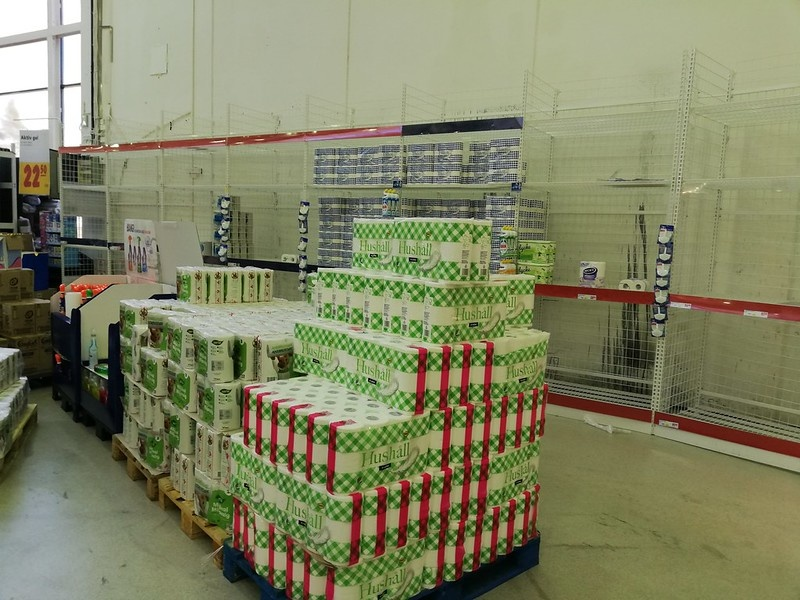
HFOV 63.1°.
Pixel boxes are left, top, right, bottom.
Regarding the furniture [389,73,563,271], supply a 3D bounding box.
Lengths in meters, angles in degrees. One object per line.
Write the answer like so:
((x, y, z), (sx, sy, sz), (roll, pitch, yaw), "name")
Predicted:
((0.371, -1.294, 7.290), (0.795, 2.022, 2.409), (14, 19, 33), "furniture")

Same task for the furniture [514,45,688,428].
((2.232, -0.705, 7.214), (2.337, 3.697, 1.426), (9, 10, 43), "furniture")
